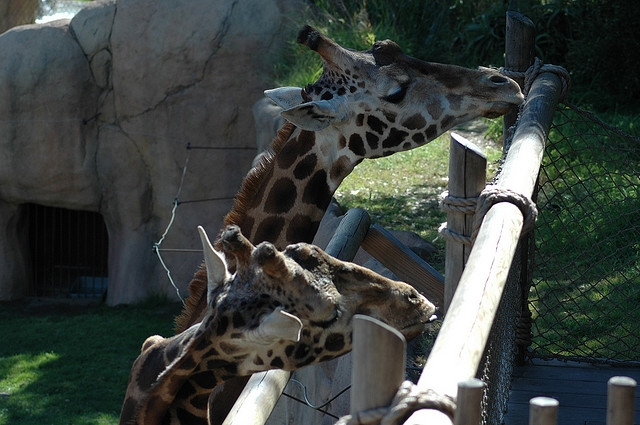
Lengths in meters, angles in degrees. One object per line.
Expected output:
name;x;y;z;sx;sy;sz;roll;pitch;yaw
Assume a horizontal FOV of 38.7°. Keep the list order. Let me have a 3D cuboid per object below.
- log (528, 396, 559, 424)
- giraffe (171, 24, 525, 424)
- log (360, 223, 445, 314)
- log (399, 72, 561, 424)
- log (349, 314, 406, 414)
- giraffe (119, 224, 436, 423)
log;1.912;1.681;7.780;0.190;0.262;0.211;0;-5;-2
giraffe;0.203;0.132;10.244;3.422;5.647;1.399;-13;35;0
log;0.931;0.596;9.813;1.242;0.312;0.164;37;-1;41
log;1.683;0.415;9.320;0.498;0.613;5.175;11;42;13
log;0.543;1.187;7.761;0.279;1.098;0.252;-3;37;-5
giraffe;-0.315;1.165;9.171;2.206;1.449;0.896;-27;45;9
